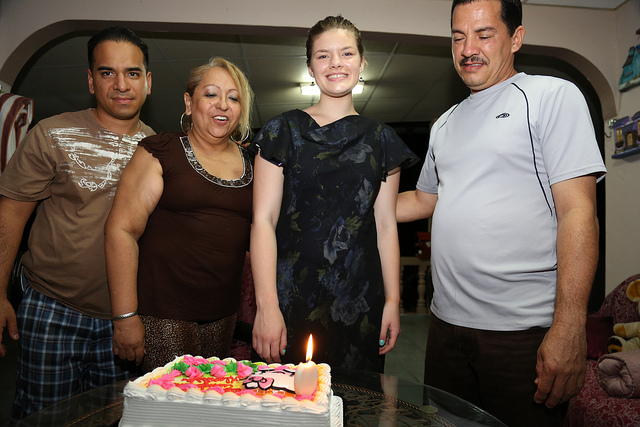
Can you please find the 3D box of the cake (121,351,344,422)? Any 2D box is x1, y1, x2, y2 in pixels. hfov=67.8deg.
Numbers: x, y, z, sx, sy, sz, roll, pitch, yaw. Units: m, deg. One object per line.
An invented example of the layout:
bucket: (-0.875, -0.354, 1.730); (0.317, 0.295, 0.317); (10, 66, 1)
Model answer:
cake: (-0.394, 0.784, 2.132); (0.685, 0.186, 0.417); (0, -2, 3)

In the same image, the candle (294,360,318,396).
candle: (-0.059, 0.727, 2.107); (0.109, 0.152, 0.113); (-2, 2, -31)

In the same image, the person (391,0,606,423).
person: (0.983, -0.019, 2.484); (0.898, 2.173, 0.499); (9, 12, 35)

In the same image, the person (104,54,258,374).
person: (-0.742, -0.021, 2.658); (0.852, 1.700, 0.448); (-3, 11, -27)

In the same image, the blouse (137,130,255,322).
blouse: (-0.732, 0.055, 2.889); (0.691, 1.026, 0.579); (3, 5, -13)
